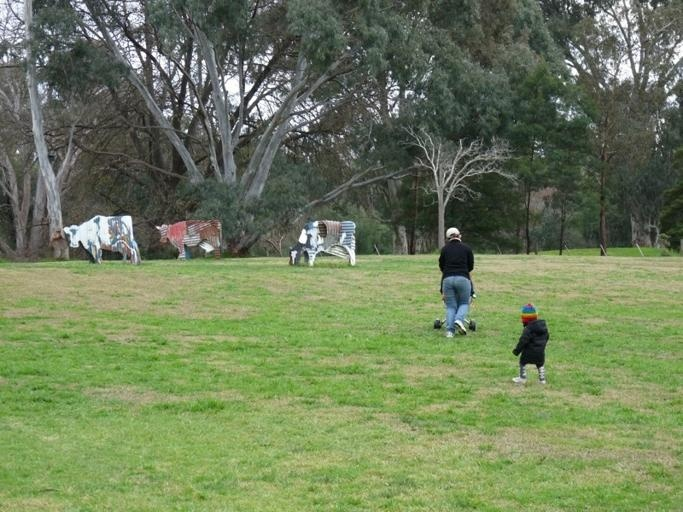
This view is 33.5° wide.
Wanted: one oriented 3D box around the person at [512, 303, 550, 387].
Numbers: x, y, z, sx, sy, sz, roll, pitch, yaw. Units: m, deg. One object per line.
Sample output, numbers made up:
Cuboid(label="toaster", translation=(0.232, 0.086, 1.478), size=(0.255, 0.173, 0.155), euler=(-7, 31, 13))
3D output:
Cuboid(label="person", translation=(5.893, 2.564, 34.075), size=(1.103, 2.368, 1.359), euler=(2, 2, 41))

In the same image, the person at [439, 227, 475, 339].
Cuboid(label="person", translation=(3.799, 0.821, 37.165), size=(1.104, 3.604, 1.404), euler=(1, -2, 6))
